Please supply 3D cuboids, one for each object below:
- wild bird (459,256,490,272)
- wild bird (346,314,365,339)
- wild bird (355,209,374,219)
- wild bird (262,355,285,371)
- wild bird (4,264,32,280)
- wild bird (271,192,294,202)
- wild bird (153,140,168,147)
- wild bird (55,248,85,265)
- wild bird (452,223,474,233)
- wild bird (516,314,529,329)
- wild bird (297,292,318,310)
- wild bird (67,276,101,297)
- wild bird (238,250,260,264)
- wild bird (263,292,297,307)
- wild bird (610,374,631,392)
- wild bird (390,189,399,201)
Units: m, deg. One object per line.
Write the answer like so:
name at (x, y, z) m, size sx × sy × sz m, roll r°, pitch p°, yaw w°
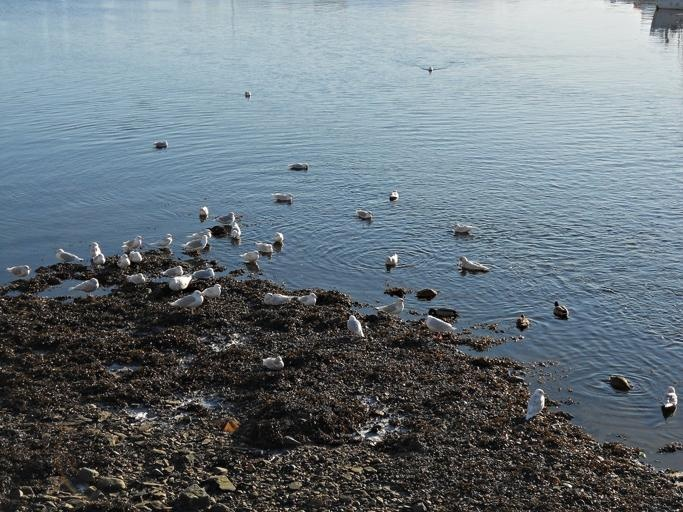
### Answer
wild bird at (6.419, 0.386, 42.182) m, size 1.779 × 0.780 × 0.607 m, roll 4°, pitch 11°, yaw 21°
wild bird at (0.627, 2.951, 36.468) m, size 0.779 × 0.844 × 0.925 m, roll 2°, pitch 23°, yaw 0°
wild bird at (1.344, -2.475, 47.734) m, size 0.914 × 0.609 × 0.512 m, roll 31°, pitch 43°, yaw 30°
wild bird at (-2.761, 4.213, 34.124) m, size 0.869 × 0.510 × 0.477 m, roll 18°, pitch 40°, yaw 25°
wild bird at (-15.734, 0.599, 41.244) m, size 1.291 × 0.670 × 0.598 m, roll 22°, pitch 24°, yaw 13°
wild bird at (-3.495, -3.567, 50.604) m, size 1.105 × 0.553 × 0.548 m, roll 12°, pitch 21°, yaw 20°
wild bird at (-12.769, -7.917, 59.682) m, size 0.668 × 0.261 × 0.821 m, roll -3°, pitch 5°, yaw -23°
wild bird at (-13.639, -0.038, 42.496) m, size 1.444 × 0.579 × 0.967 m, roll 1°, pitch 22°, yaw -1°
wild bird at (6.523, -1.508, 45.742) m, size 0.972 × 0.420 × 0.474 m, roll 0°, pitch 0°, yaw 25°
wild bird at (8.072, 2.857, 37.812) m, size 0.422 × 0.270 × 0.671 m, roll 3°, pitch 41°, yaw 29°
wild bird at (-1.599, 1.941, 38.619) m, size 0.830 × 0.543 × 0.538 m, roll 0°, pitch 24°, yaw -4°
wild bird at (-11.853, 1.412, 39.591) m, size 1.483 × 0.754 × 0.719 m, roll 8°, pitch 8°, yaw 4°
wild bird at (-4.723, -0.017, 43.303) m, size 1.037 × 0.566 × 0.568 m, roll 4°, pitch 14°, yaw 16°
wild bird at (-2.882, 1.908, 38.649) m, size 1.368 × 0.489 × 0.657 m, roll 0°, pitch 22°, yaw -5°
wild bird at (11.148, 5.058, 34.053) m, size 0.672 × 0.223 × 0.708 m, roll -19°, pitch 35°, yaw -21°
wild bird at (3.018, -3.624, 50.395) m, size 0.627 × 0.460 × 0.700 m, roll 7°, pitch 41°, yaw 12°
